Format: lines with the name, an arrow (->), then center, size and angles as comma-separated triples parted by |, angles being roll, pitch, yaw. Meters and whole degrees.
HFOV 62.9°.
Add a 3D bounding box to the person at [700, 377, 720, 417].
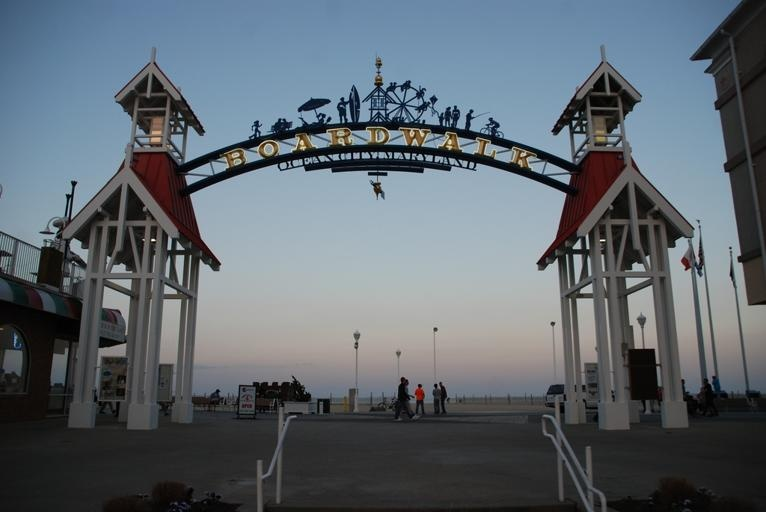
person -> 18.349, 7.927, 35.252 | 0.633, 1.928, 0.594 | -5, 3, -2
